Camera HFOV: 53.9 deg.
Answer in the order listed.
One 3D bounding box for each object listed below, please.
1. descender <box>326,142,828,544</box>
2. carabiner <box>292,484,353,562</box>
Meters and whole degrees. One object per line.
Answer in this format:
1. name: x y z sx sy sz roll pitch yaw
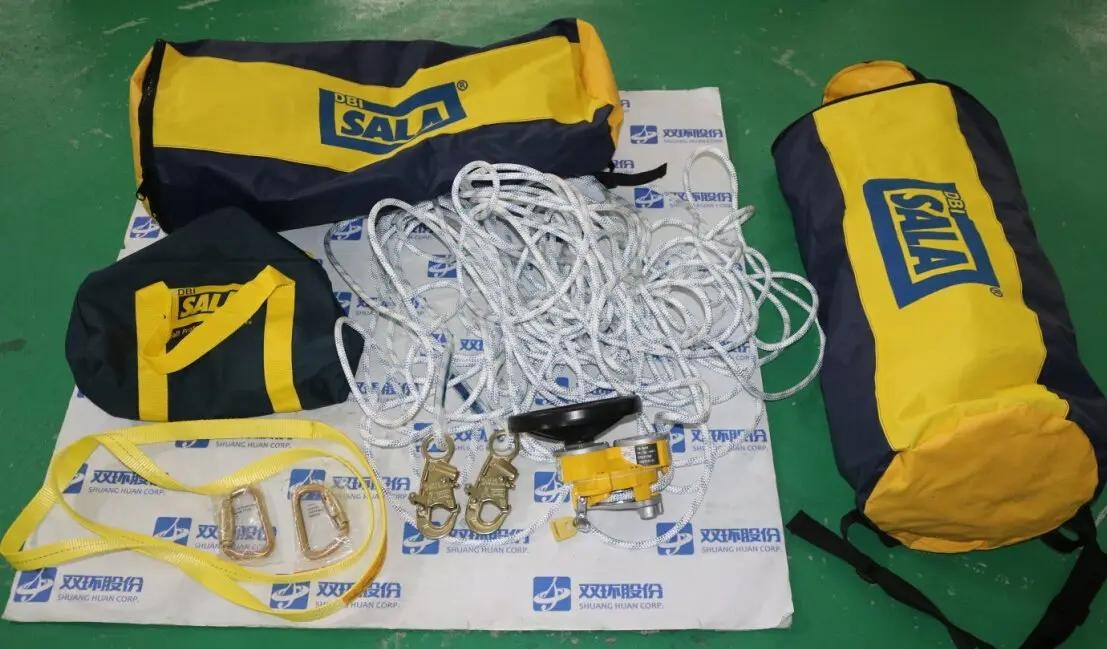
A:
1. descender: 0.039 0.098 3.366 1.269 0.370 1.076 -10 84 -1
2. carabiner: -0.709 0.595 3.278 0.167 0.069 0.227 -14 78 -2
